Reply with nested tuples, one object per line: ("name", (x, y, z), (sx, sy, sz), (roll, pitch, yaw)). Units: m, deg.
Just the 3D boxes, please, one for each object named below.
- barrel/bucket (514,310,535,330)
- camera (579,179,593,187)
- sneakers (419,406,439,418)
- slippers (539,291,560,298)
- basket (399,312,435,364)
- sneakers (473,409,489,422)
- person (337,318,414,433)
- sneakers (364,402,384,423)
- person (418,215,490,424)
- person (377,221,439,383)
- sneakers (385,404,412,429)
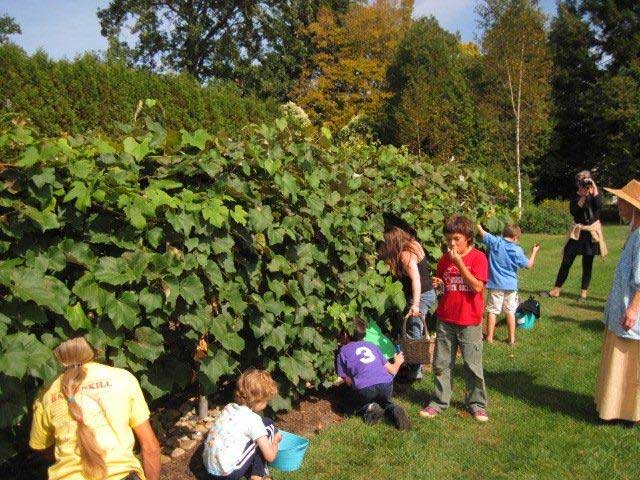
("barrel/bucket", (2.976, 1.165, 7.773), (0.267, 0.277, 0.183), (0, -8, -41))
("camera", (4.360, -0.941, 8.747), (0.122, 0.064, 0.137), (-2, -5, -43))
("sneakers", (1.065, 1.683, 5.245), (0.081, 0.066, 0.153), (-3, -10, 38))
("slippers", (4.075, 0.967, 9.524), (0.310, 0.114, 0.169), (0, 20, 34))
("basket", (1.030, 1.024, 5.667), (0.453, 0.746, 0.474), (-1, -5, 9))
("sneakers", (1.561, 1.694, 5.143), (0.066, 0.059, 0.145), (-5, -10, 0))
("person", (0.556, 1.326, 5.352), (0.660, 0.530, 1.257), (0, 23, -17))
("sneakers", (0.526, 1.641, 5.115), (0.106, 0.159, 0.218), (1, 2, 29))
("person", (1.371, 0.741, 5.229), (0.647, 1.948, 0.533), (4, 10, 18))
("person", (0.979, 0.614, 6.030), (0.680, 1.553, 0.600), (-1, 19, 19))
("sneakers", (0.737, 1.670, 5.052), (0.121, 0.227, 0.099), (-25, -17, -10))
